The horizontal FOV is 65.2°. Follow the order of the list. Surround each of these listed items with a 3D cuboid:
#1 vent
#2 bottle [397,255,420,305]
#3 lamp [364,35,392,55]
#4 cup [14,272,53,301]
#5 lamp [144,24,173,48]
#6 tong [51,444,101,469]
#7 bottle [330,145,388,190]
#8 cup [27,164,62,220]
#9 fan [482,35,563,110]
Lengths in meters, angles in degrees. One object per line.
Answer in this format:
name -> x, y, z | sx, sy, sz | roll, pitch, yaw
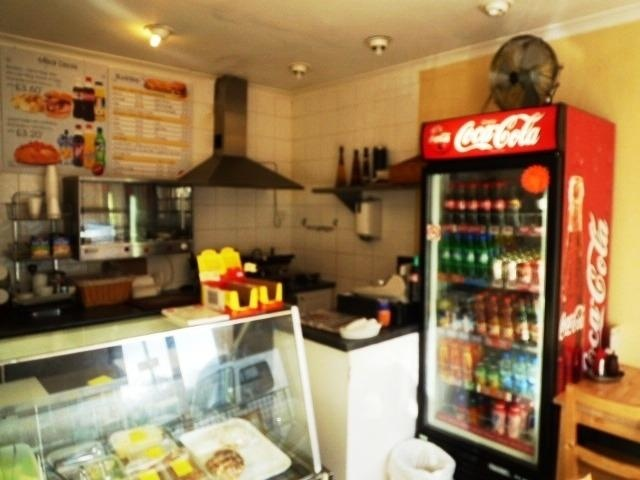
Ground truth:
vent -> -0.809, -0.961, 4.669 | 0.973, 0.958, 0.872 | -5, 10, -35
bottle -> 0.610, 0.264, 3.429 | 0.127, 0.317, 0.352 | 1, 4, 6
lamp -> 0.434, -1.471, 3.757 | 0.119, 0.073, 0.118 | -2, 1, -41
cup -> -2.199, 0.366, 3.840 | 0.264, 0.223, 0.128 | -2, 5, -29
lamp -> -1.163, -1.492, 3.605 | 0.155, 0.114, 0.154 | 2, 0, -39
tong -> -1.046, 0.926, 2.138 | 0.212, 0.088, 0.025 | -1, 4, -20
bottle -> 0.366, -0.643, 4.433 | 0.126, 0.355, 0.480 | 5, -6, -43
cup -> -2.139, -0.374, 3.870 | 0.220, 0.434, 0.235 | 0, 4, 0
fan -> 1.280, -1.050, 3.127 | 0.397, 0.459, 0.206 | 2, 4, 24
